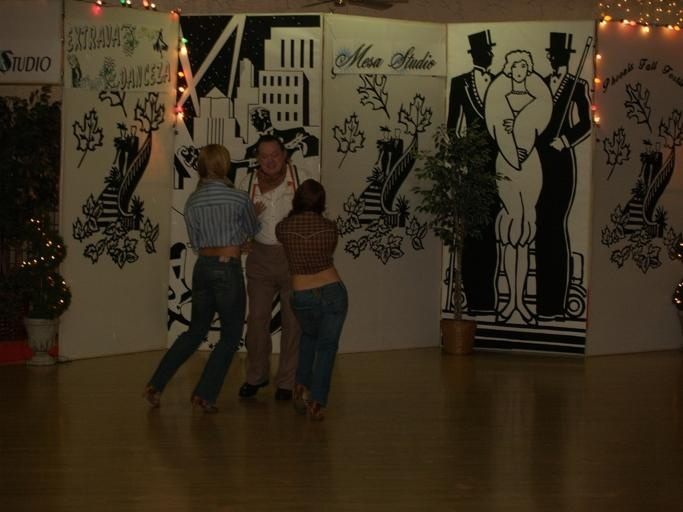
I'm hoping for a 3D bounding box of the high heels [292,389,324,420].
[{"bbox_3d":[-0.275,1.198,5.043,0.140,0.326,0.222,-1,38,10],"label":"high heels"}]

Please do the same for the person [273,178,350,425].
[{"bbox_3d":[-0.242,0.341,4.950,0.544,1.862,0.221,0,3,-2],"label":"person"}]

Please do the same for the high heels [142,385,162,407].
[{"bbox_3d":[-1.590,1.168,5.254,0.075,0.167,0.144,-17,-8,25],"label":"high heels"}]

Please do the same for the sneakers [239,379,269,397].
[{"bbox_3d":[-0.803,1.185,5.680,0.258,0.126,0.131,-16,45,-5],"label":"sneakers"}]

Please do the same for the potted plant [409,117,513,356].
[{"bbox_3d":[1.392,-0.228,7.556,1.030,2.772,0.547,1,3,7],"label":"potted plant"}]

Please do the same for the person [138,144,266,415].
[{"bbox_3d":[-1.099,0.190,5.191,0.791,2.197,0.394,2,3,21],"label":"person"}]

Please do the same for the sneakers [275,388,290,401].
[{"bbox_3d":[-0.527,1.230,5.565,0.122,0.150,0.085,5,-25,-5],"label":"sneakers"}]

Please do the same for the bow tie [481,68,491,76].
[{"bbox_3d":[1.737,-2.213,7.597,0.068,0.083,0.022,-2,6,15],"label":"bow tie"}]
